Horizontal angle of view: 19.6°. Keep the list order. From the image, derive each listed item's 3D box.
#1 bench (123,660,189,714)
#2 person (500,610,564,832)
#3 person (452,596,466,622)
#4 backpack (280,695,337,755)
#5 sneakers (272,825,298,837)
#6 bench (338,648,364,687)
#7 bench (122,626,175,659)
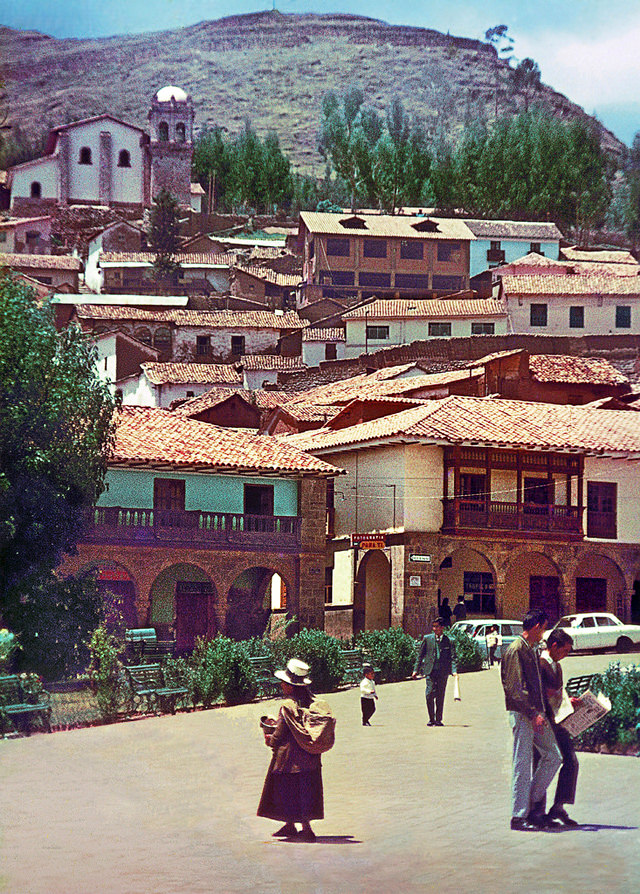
[{"bbox_3d":[-2.529,3.724,28.824,0.700,0.871,1.544,1,5,13],"label":"bench"},{"bbox_3d":[2.009,2.608,17.385,0.495,2.106,0.458,-1,5,-14],"label":"person"},{"bbox_3d":[3.371,3.854,44.062,0.309,1.078,0.283,1,4,5],"label":"person"},{"bbox_3d":[-0.106,2.637,17.311,0.505,0.475,0.376,0,5,3],"label":"backpack"},{"bbox_3d":[-0.301,3.666,17.672,0.181,0.157,0.124,7,-13,0],"label":"sneakers"},{"bbox_3d":[0.663,3.958,33.362,0.513,0.431,0.486,3,-1,-45],"label":"bench"},{"bbox_3d":[-3.478,3.913,37.030,0.679,0.911,1.438,1,1,2],"label":"bench"}]
